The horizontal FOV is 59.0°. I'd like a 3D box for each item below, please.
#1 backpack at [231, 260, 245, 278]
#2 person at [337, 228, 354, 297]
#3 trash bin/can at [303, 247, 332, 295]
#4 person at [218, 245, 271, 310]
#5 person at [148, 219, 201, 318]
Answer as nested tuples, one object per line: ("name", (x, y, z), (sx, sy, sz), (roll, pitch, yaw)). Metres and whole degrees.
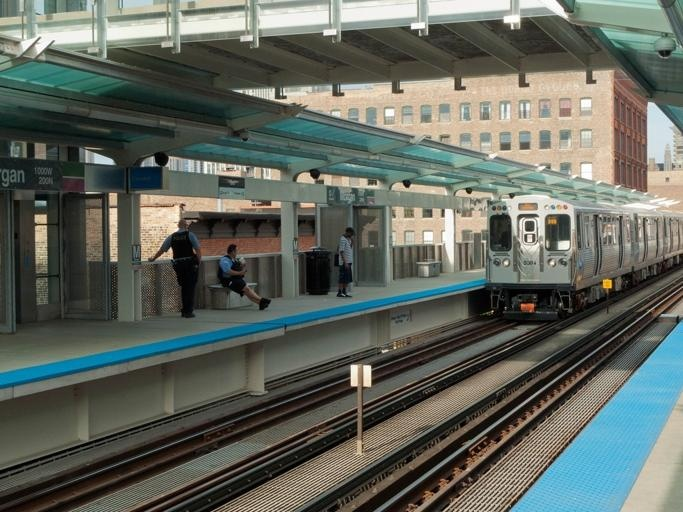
("backpack", (-2.386, 0.318, 13.827), (0.284, 0.399, 0.421), (-1, 3, -11))
("person", (0.075, 0.181, 17.083), (0.421, 1.926, 1.072), (0, 3, 0))
("trash bin/can", (-0.714, 0.444, 17.821), (0.685, 1.376, 0.414), (-1, 3, -10))
("person", (-2.356, 0.505, 14.040), (0.995, 1.502, 1.303), (-1, 3, -15))
("person", (-3.235, 0.292, 12.439), (0.563, 2.058, 0.666), (-1, 3, -15))
